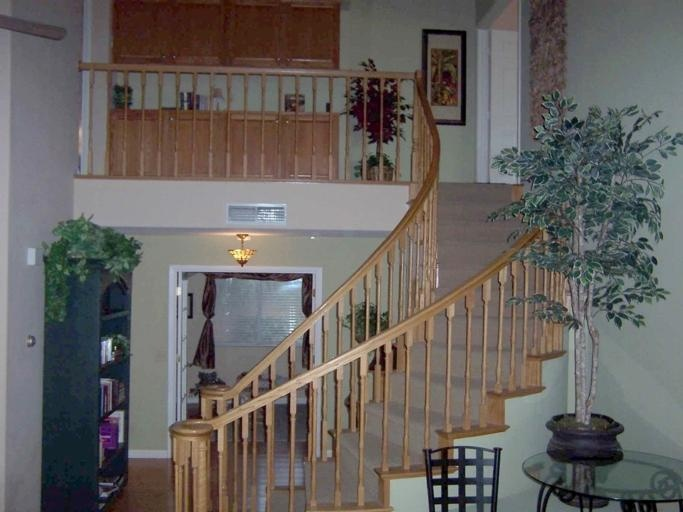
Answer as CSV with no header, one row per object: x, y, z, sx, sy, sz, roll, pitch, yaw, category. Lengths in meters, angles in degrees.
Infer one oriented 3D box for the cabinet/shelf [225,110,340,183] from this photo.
-0.690,-1.187,8.226,0.840,0.884,0.348,1,-1,-4,cabinet/shelf

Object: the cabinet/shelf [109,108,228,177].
-1.896,-1.264,8.280,0.816,0.575,0.497,1,-1,-2,cabinet/shelf

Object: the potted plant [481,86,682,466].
1.981,0.153,5.893,1.171,2.647,1.466,1,0,39,potted plant

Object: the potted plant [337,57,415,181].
0.374,-1.638,8.466,0.828,1.183,2.080,0,0,4,potted plant

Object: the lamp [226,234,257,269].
-1.169,-0.066,8.684,0.324,0.399,0.342,0,3,-14,lamp

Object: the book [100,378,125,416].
-2.252,1.367,7.302,0.111,0.146,0.408,1,1,-3,book
